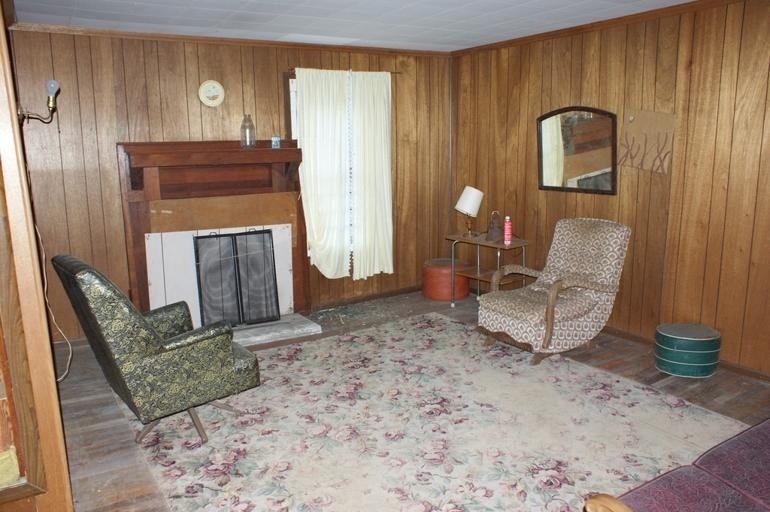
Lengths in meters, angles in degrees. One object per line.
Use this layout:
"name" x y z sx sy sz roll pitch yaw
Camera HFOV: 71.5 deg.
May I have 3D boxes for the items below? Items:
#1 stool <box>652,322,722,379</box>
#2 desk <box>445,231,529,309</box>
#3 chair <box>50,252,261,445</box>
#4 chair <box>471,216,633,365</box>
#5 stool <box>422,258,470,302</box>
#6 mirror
"stool" 2.720 0.838 4.891 0.549 0.330 0.491 -1 13 6
"desk" 1.214 0.171 6.290 0.533 0.792 0.906 -12 17 -34
"chair" -1.762 0.707 4.232 1.508 1.221 1.052 -2 7 -30
"chair" 1.686 0.293 5.343 1.423 1.030 0.957 -16 19 -29
"stool" 0.751 0.297 6.761 0.607 0.359 0.540 0 -1 -17
"mirror" 2.100 -1.166 5.898 0.043 0.907 1.029 -15 17 -27
